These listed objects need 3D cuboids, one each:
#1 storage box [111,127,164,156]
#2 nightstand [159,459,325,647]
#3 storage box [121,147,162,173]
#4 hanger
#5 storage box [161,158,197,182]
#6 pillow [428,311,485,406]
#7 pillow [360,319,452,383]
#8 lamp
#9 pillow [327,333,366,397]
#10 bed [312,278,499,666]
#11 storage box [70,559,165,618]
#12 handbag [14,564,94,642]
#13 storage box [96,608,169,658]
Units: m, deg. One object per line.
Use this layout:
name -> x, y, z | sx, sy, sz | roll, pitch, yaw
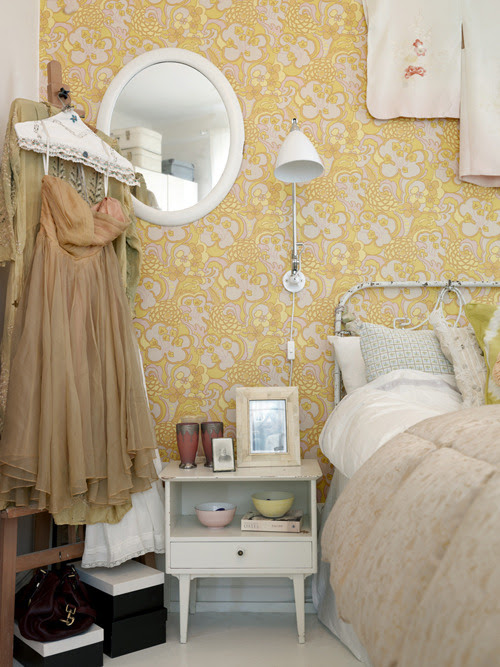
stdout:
storage box -> -0.459, -0.795, 2.420 | 0.207, 0.096, 0.145 | 2, 1, 32
nightstand -> -0.015, 0.778, 2.108 | 0.539, 0.538, 0.385 | 0, -10, -4
storage box -> -0.438, -0.715, 2.414 | 0.145, 0.068, 0.103 | 15, 22, 25
hanger -> -0.606, -0.675, 2.053 | 0.070, 0.301, 0.606 | -31, -22, 29
storage box -> -0.293, -0.650, 2.410 | 0.107, 0.063, 0.108 | 3, 3, 30
pillow -> 0.709, 0.107, 2.018 | 0.066, 0.243, 0.154 | -27, -45, 22
pillow -> 0.544, 0.086, 2.152 | 0.364, 0.095, 0.365 | 8, 37, -1
lamp -> 0.198, -0.492, 2.297 | 0.189, 0.693, 0.358 | -1, 12, 7
pillow -> 0.377, 0.118, 2.261 | 0.103, 0.192, 0.169 | -4, 11, -7
bed -> 0.539, 0.411, 2.250 | 0.797, 1.244, 0.853 | 4, 0, 0
storage box -> -0.400, 0.815, 1.922 | 0.175, 0.102, 0.172 | 3, -6, -32
handbag -> -0.600, 0.785, 1.796 | 0.235, 0.115, 0.330 | -5, 10, -31
storage box -> -0.360, 0.952, 1.870 | 0.142, 0.065, 0.138 | 4, -15, -32
